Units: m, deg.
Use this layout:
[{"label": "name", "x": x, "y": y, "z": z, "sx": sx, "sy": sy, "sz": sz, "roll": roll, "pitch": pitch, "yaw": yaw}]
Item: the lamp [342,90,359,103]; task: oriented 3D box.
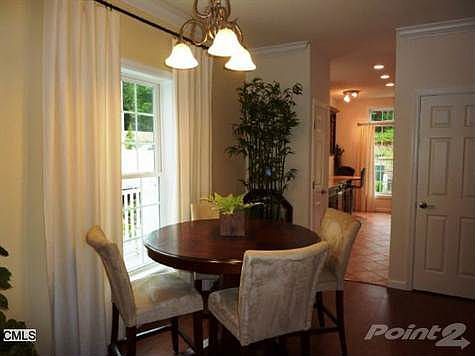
[{"label": "lamp", "x": 2.481, "y": -1.853, "z": 8.231, "sx": 0.370, "sy": 0.344, "sz": 0.358, "roll": -11, "pitch": 17, "yaw": -44}]
